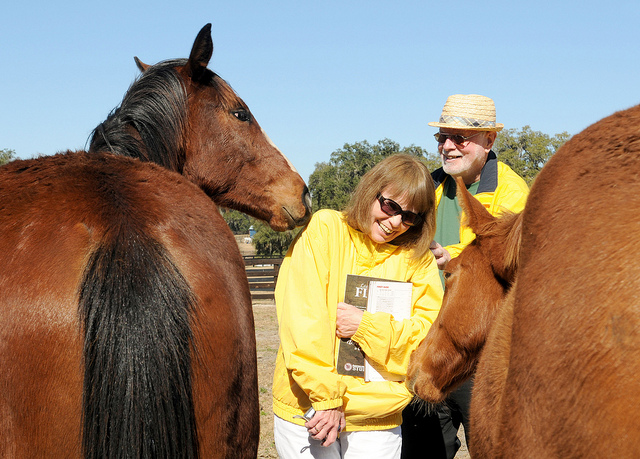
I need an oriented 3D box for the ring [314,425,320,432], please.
[{"bbox_3d":[-0.019,1.060,2.959,0.018,0.028,0.009,-13,-13,-24],"label":"ring"}]
